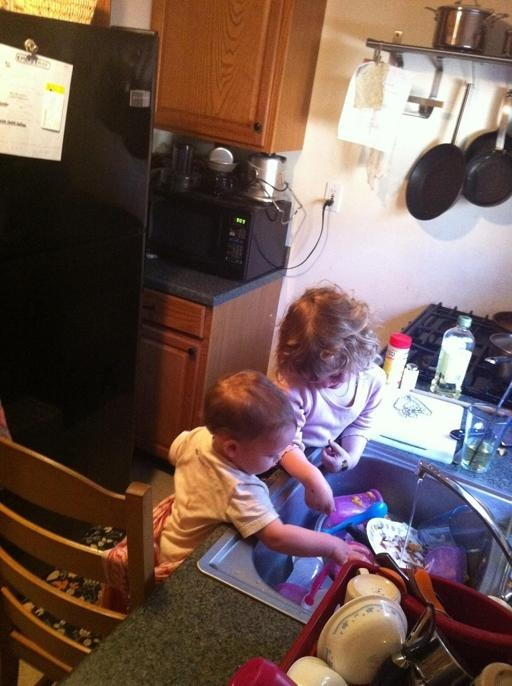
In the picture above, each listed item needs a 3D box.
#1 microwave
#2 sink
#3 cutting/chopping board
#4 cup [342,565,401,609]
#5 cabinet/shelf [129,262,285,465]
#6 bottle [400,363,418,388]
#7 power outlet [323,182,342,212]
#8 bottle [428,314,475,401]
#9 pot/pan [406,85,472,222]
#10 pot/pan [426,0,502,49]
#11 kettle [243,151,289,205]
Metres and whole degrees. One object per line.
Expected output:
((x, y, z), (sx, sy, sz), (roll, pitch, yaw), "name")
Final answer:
((-0.198, -0.489, 2.292), (0.523, 0.330, 0.396), (16, 22, 14), "microwave")
((0.226, 0.302, 0.912), (0.327, 0.166, 0.411), (20, 30, 28), "sink")
((0.390, 0.195, 1.239), (0.162, 0.033, 0.166), (18, 39, 20), "cutting/chopping board")
((0.121, 0.244, 0.522), (0.032, 0.036, 0.052), (1, 19, -1), "cup")
((-0.164, 0.162, 2.415), (0.619, 1.002, 0.595), (-5, 12, -33), "cabinet/shelf")
((0.425, 0.098, 1.434), (0.038, 0.067, 0.047), (13, 15, 11), "bottle")
((0.348, -0.659, 2.330), (0.095, 0.137, 0.016), (23, 34, 36), "power outlet")
((0.572, 0.037, 1.488), (0.095, 0.244, 0.097), (5, 25, -2), "bottle")
((0.698, -0.710, 1.952), (0.111, 0.487, 0.255), (5, 16, -19), "pot/pan")
((0.583, -0.904, 1.484), (0.202, 0.126, 0.095), (22, 19, 34), "pot/pan")
((0.049, -0.725, 2.269), (0.189, 0.200, 0.186), (-6, 21, -37), "kettle")
